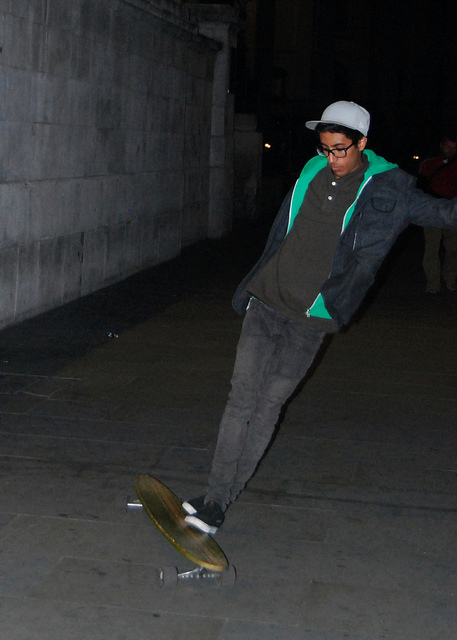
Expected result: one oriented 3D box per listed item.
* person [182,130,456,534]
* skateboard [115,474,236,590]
[{"bbox_3d":[0.365,0.053,2.485,0.927,1.675,0.496,4,4,16],"label":"person"},{"bbox_3d":[-0.178,0.845,2.262,0.266,0.162,0.767,10,13,-32],"label":"skateboard"}]
